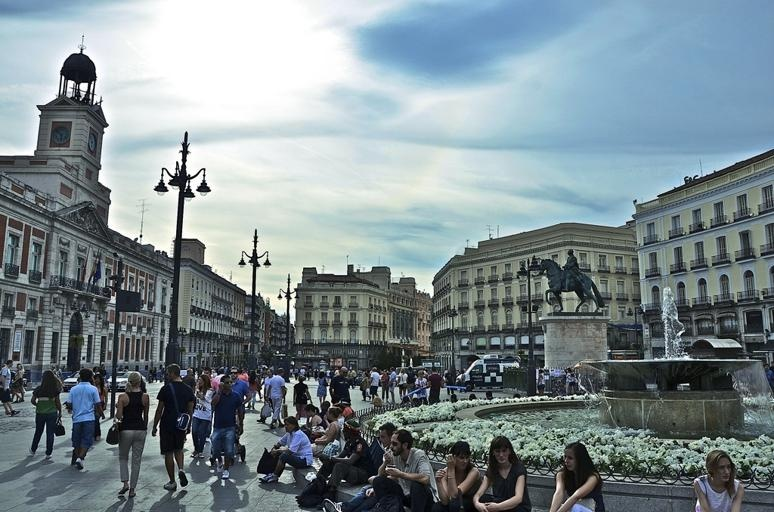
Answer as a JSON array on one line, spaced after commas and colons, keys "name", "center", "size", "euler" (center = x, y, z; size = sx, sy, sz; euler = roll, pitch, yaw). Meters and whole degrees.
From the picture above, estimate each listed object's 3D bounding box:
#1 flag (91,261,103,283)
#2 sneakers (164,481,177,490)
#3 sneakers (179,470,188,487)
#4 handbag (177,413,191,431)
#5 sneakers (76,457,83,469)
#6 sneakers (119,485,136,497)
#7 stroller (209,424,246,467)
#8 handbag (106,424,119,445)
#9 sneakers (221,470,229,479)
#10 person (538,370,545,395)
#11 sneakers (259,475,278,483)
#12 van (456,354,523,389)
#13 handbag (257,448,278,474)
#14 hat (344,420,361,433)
[{"name": "flag", "center": [-24.236, 1.272, 54.923], "size": [0.507, 2.238, 1.320], "euler": [3, -14, -13]}, {"name": "sneakers", "center": [-5.220, 5.480, 15.765], "size": [0.364, 0.147, 0.135], "euler": [-8, -10, 33]}, {"name": "sneakers", "center": [-4.882, 5.308, 15.862], "size": [0.198, 0.427, 0.187], "euler": [-9, 2, -29]}, {"name": "handbag", "center": [-4.900, 3.987, 15.907], "size": [0.332, 0.392, 0.221], "euler": [11, -18, -40]}, {"name": "sneakers", "center": [-7.948, 5.338, 17.014], "size": [0.141, 0.288, 0.198], "euler": [-6, 24, -14]}, {"name": "sneakers", "center": [-6.014, 5.432, 15.280], "size": [0.438, 0.181, 0.188], "euler": [6, -14, -25]}, {"name": "stroller", "center": [-4.157, 5.193, 17.999], "size": [0.856, 1.111, 1.208], "euler": [-2, -34, -1]}, {"name": "handbag", "center": [-6.487, 4.188, 15.627], "size": [0.235, 0.460, 0.654], "euler": [5, -15, -23]}, {"name": "sneakers", "center": [-4.088, 5.502, 16.645], "size": [0.110, 0.111, 0.269], "euler": [1, -13, -4]}, {"name": "person", "center": [8.070, 6.550, 34.596], "size": [0.447, 1.270, 2.373], "euler": [-4, -14, 13]}, {"name": "sneakers", "center": [-2.949, 5.524, 16.422], "size": [0.480, 0.193, 0.167], "euler": [0, -10, 4]}, {"name": "van", "center": [6.601, 7.495, 42.412], "size": [3.431, 1.582, 1.902], "euler": [1, -12, 1]}, {"name": "handbag", "center": [-3.048, 5.172, 16.700], "size": [0.518, 0.580, 0.209], "euler": [28, -21, -13]}, {"name": "hat", "center": [-0.877, 4.034, 15.663], "size": [0.336, 0.279, 0.286], "euler": [5, -10, 34]}]
